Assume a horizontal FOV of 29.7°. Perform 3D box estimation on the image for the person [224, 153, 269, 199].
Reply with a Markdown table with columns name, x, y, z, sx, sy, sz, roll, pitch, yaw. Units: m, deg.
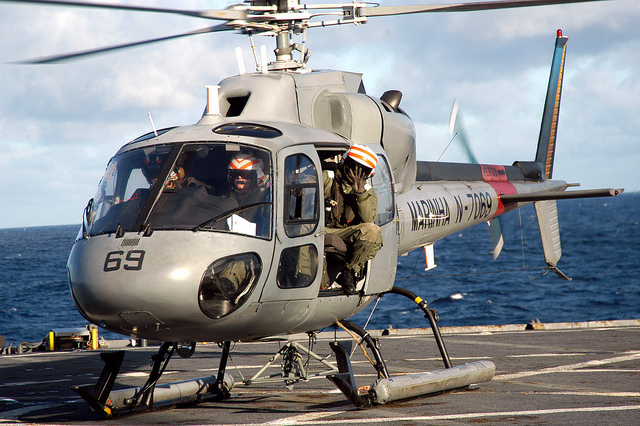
| name | x | y | z | sx | sy | sz | roll | pitch | yaw |
| --- | --- | --- | --- | --- | --- | --- | --- | --- | --- |
| person | -1.899 | -0.870 | 28.976 | 1.066 | 0.976 | 1.219 | -2 | 0 | -2 |

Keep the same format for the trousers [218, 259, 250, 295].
| name | x | y | z | sx | sy | sz | roll | pitch | yaw |
| --- | --- | --- | --- | --- | --- | --- | --- | --- | --- |
| trousers | -2.029 | 1.472 | 28.208 | 0.421 | 0.753 | 0.535 | 8 | -40 | 52 |
